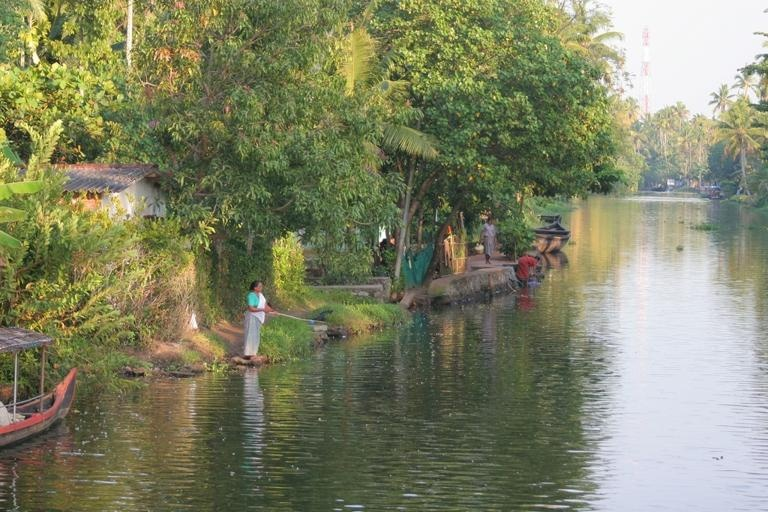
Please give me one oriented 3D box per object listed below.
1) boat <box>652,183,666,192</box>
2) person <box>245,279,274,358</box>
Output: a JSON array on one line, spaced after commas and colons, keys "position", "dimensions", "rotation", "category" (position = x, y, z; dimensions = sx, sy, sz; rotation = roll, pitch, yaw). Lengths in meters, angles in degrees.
[{"position": [58.606, -14.570, 262.656], "dimensions": [1.826, 1.146, 2.185], "rotation": [0, 0, 21], "category": "boat"}, {"position": [-3.906, 1.963, 37.312], "dimensions": [0.742, 2.361, 0.812], "rotation": [0, 10, -6], "category": "person"}]
